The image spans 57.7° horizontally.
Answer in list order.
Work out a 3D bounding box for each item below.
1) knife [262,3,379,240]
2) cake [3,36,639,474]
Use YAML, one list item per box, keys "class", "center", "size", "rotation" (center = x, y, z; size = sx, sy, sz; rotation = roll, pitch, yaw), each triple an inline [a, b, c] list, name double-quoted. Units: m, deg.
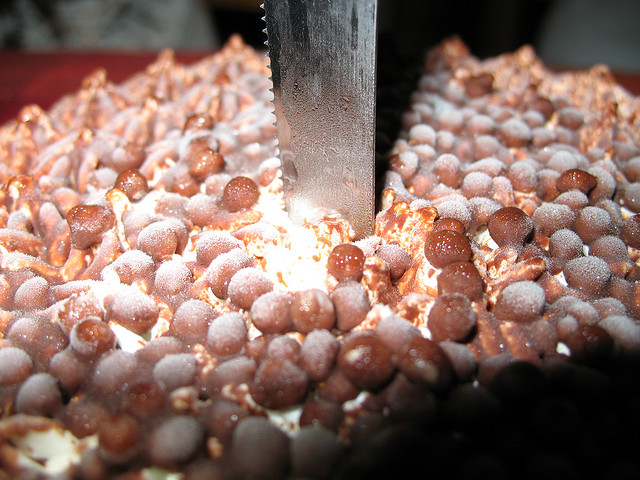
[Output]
- class: "knife"
  center: [0.012, -0.190, 0.953]
  size: [0.166, 0.333, 0.245]
  rotation: [-6, 50, -2]
- class: "cake"
  center: [0.024, 0.150, 1.103]
  size: [0.939, 0.342, 0.908]
  rotation: [6, 62, 1]
